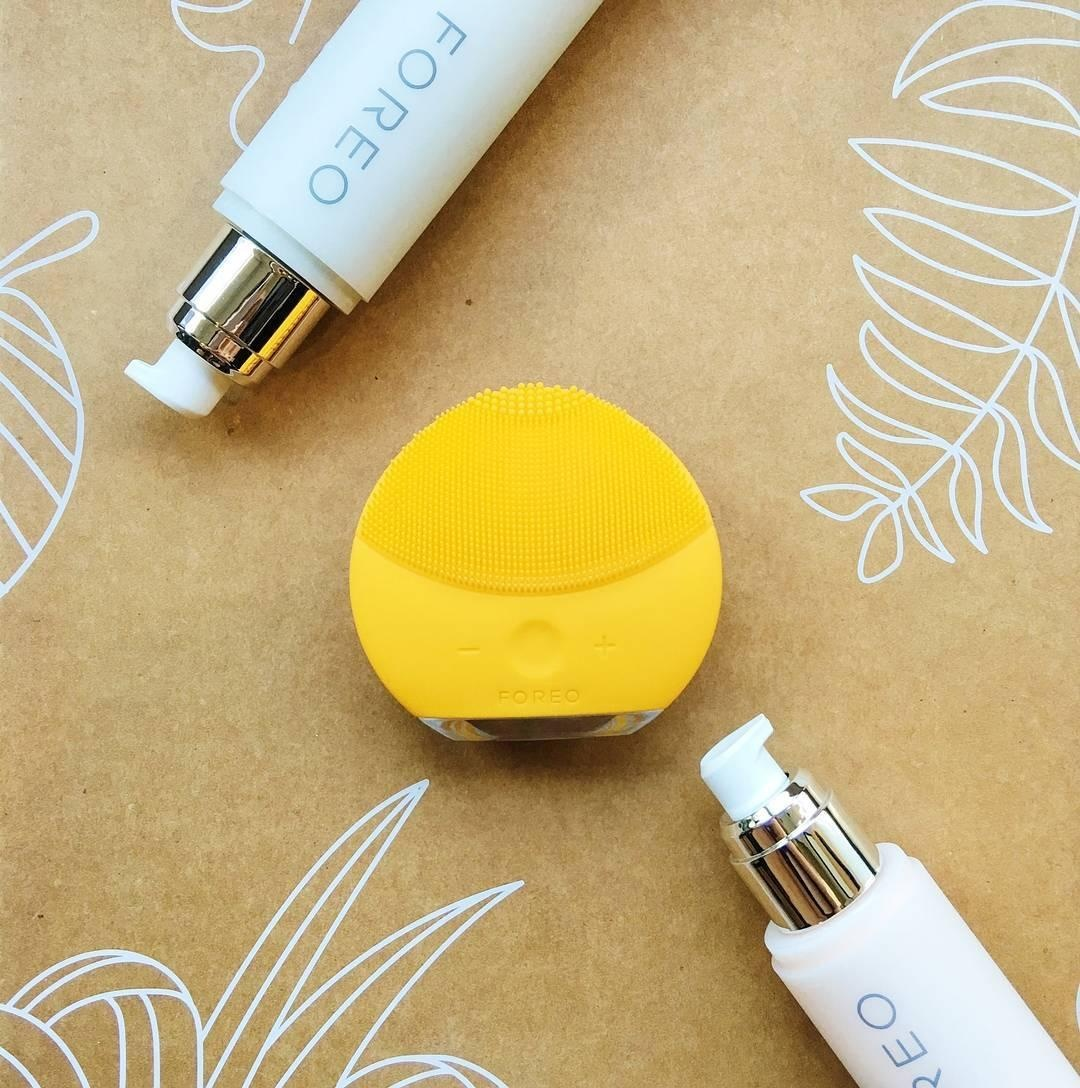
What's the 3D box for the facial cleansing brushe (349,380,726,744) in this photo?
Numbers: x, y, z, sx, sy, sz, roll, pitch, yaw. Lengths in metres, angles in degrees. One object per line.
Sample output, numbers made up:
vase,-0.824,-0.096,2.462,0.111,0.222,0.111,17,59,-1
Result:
facial cleansing brushe,-0.009,0.003,0.702,0.170,0.040,0.151,13,84,-23
